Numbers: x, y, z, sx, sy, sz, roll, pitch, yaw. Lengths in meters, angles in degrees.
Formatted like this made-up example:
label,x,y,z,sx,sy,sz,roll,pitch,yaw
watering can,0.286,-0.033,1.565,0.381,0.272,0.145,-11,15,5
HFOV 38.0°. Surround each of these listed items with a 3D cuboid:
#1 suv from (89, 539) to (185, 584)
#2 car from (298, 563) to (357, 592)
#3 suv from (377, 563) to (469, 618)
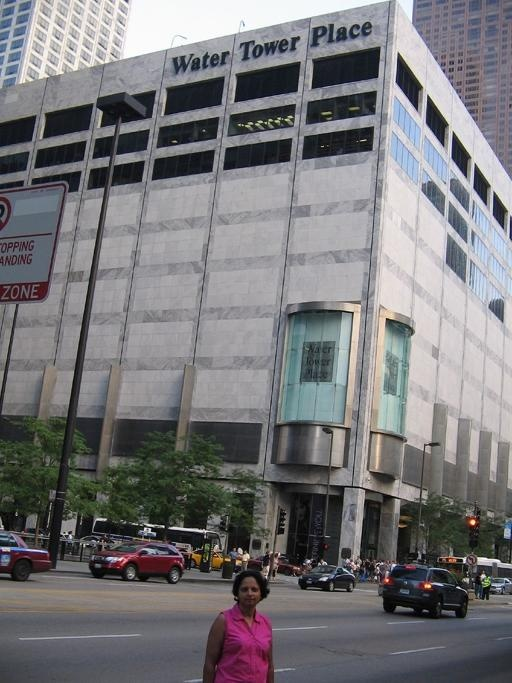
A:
label,x,y,z,sx,sy,sz,roll,pitch,yaw
suv,-4.396,8.255,27.836,0.908,1.450,4.178,-6,-20,33
car,3.742,12.696,39.764,1.228,1.286,3.802,-6,-20,34
suv,6.059,8.754,26.358,1.704,1.268,3.947,-5,-12,32
